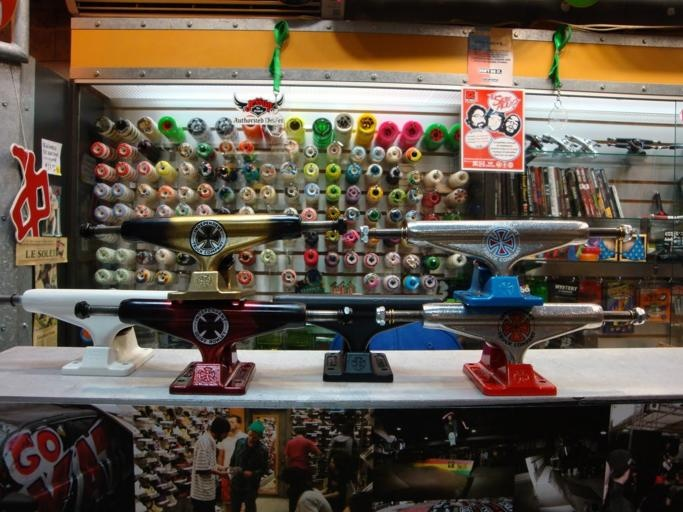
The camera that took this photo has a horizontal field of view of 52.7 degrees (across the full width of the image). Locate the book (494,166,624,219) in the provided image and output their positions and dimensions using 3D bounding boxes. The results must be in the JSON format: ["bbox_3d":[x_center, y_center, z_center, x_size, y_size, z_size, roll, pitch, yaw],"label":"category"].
[{"bbox_3d":[1.143,-0.337,3.639,0.717,0.268,0.057,1,0,-13],"label":"book"}]
